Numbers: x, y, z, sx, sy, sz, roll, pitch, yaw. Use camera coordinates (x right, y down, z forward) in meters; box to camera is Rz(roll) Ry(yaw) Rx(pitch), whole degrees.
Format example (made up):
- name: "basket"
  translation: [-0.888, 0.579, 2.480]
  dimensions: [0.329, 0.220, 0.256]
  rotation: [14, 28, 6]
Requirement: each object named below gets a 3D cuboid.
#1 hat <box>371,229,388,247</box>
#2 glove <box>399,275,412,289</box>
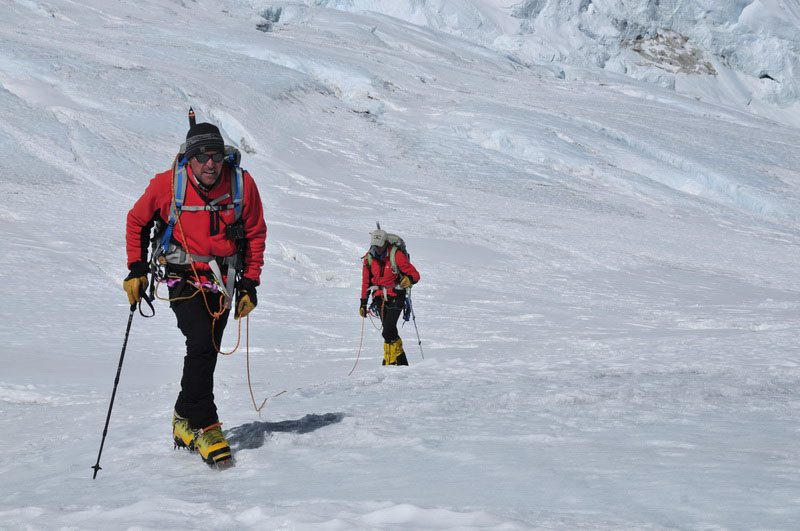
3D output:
- name: "hat"
  translation: [-0.549, -0.729, 25.654]
  dimensions: [0.422, 0.452, 0.278]
  rotation: [-1, -6, -4]
- name: "glove"
  translation: [0.165, 0.459, 25.669]
  dimensions: [0.394, 0.318, 0.125]
  rotation: [4, 42, 5]
